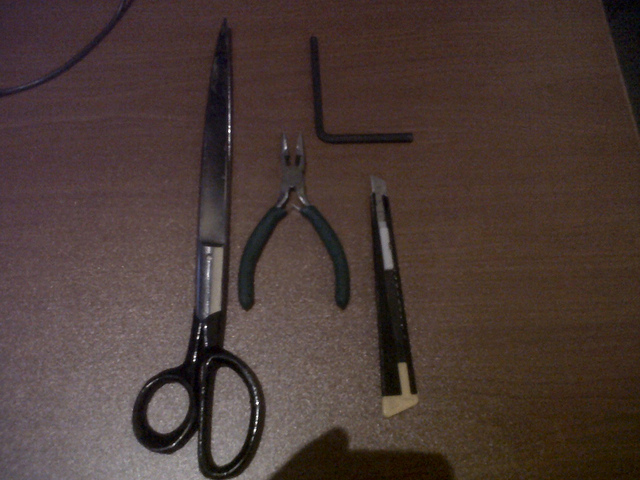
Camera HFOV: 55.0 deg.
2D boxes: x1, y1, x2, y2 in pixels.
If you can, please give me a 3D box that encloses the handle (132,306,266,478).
[{"bbox_3d":[-0.194,0.285,1.112,0.206,0.188,0.269,27,58,30],"label":"handle"}]
